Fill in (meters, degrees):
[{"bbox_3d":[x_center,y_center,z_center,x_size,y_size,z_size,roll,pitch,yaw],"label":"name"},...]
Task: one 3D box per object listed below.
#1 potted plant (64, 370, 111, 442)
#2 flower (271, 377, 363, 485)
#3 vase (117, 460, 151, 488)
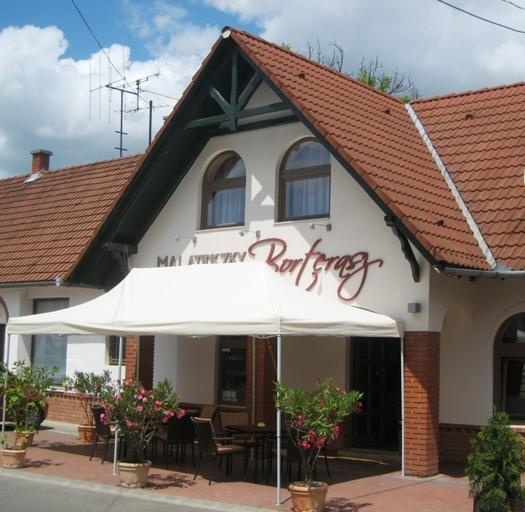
[{"bbox_3d":[-4.177,3.668,16.409,1.163,1.630,1.098,1,-8,33],"label":"potted plant"},{"bbox_3d":[0.810,2.444,9.468,0.941,1.022,0.891,0,0,22],"label":"flower"},{"bbox_3d":[-2.033,3.397,10.540,0.401,0.289,0.410,4,-17,-12],"label":"vase"}]
